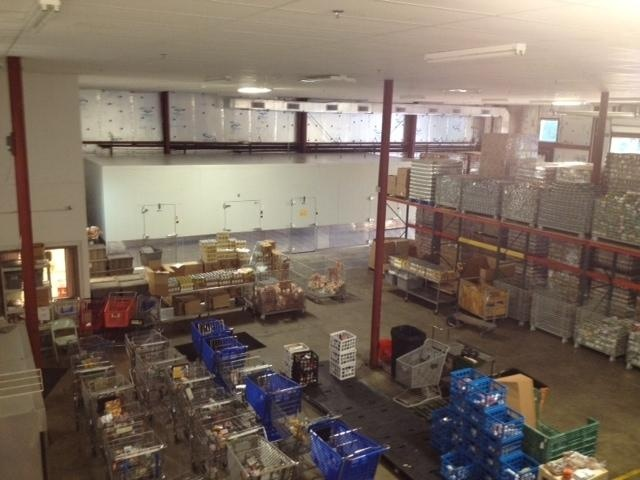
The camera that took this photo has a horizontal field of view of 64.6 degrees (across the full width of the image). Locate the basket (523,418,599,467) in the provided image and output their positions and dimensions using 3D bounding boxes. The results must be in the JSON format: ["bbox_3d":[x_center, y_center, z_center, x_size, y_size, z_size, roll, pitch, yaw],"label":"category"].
[{"bbox_3d":[3.716,3.110,7.988,0.868,0.492,0.828,-4,11,-23],"label":"basket"}]

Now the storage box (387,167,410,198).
[{"bbox_3d":[2.515,-1.806,16.157,0.317,0.904,1.025,-10,12,-25],"label":"storage box"}]

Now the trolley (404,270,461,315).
[{"bbox_3d":[3.420,1.494,15.089,1.149,1.167,1.825,-12,19,-36],"label":"trolley"}]

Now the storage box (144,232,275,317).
[{"bbox_3d":[-3.159,1.054,13.839,2.745,1.129,2.571,-9,22,-26],"label":"storage box"}]

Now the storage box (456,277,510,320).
[{"bbox_3d":[4.660,1.613,14.177,1.036,1.116,1.754,-5,10,-33],"label":"storage box"}]

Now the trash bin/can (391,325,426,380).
[{"bbox_3d":[1.920,2.458,11.065,0.791,1.014,0.772,-6,11,-11],"label":"trash bin/can"}]

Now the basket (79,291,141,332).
[{"bbox_3d":[-5.146,1.815,12.344,0.796,0.442,1.174,0,6,-4],"label":"basket"}]
